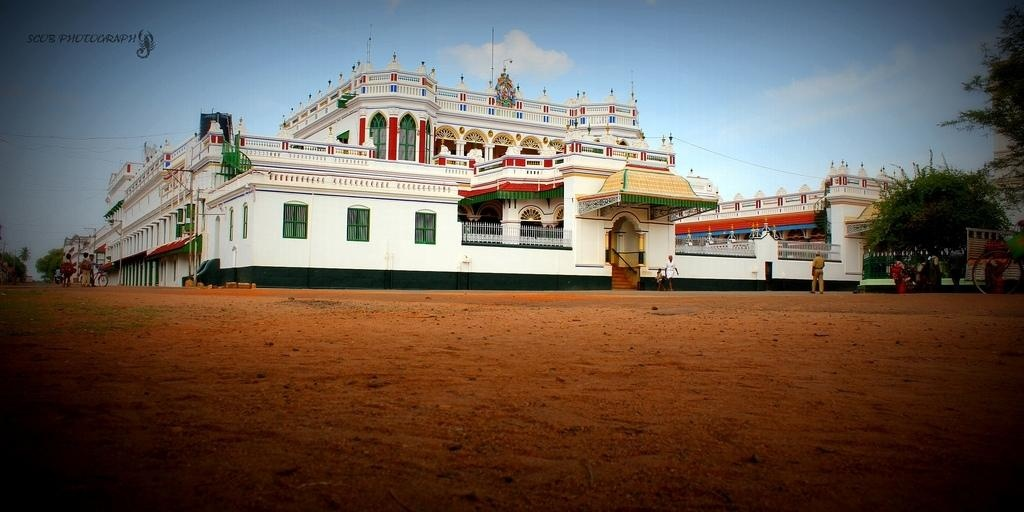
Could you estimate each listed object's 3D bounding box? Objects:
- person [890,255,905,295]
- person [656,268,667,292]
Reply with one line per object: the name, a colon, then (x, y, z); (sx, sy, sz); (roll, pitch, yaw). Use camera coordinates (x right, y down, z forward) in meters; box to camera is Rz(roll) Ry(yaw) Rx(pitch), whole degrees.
person: (16.476, 0.940, 28.342); (0.477, 1.217, 2.466); (-1, -2, 31)
person: (8.016, 1.234, 35.775); (0.527, 1.072, 0.564); (0, -2, 5)
